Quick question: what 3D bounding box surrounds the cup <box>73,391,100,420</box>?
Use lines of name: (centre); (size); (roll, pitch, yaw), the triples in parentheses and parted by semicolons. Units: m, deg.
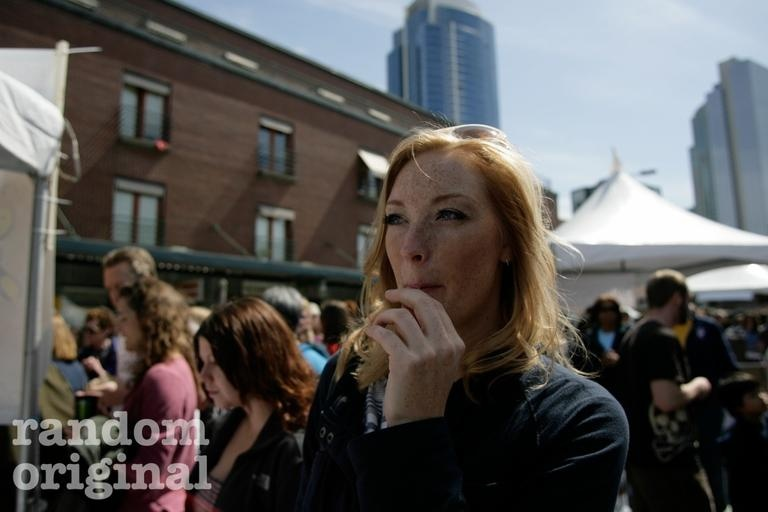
cup: (-1.693, 0.855, 5.279); (0.131, 0.238, 0.133); (-1, -7, 0)
